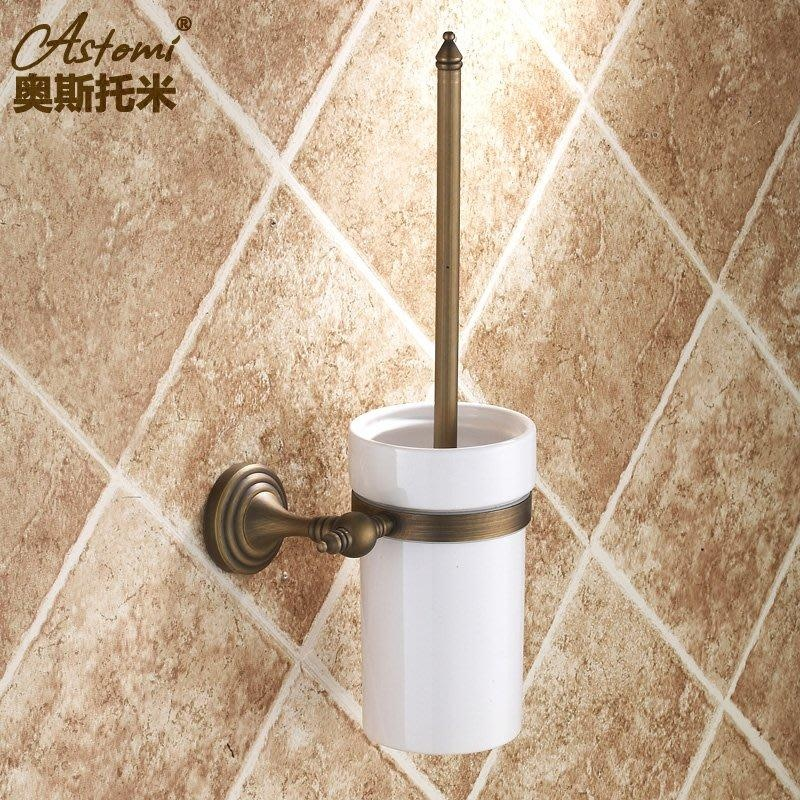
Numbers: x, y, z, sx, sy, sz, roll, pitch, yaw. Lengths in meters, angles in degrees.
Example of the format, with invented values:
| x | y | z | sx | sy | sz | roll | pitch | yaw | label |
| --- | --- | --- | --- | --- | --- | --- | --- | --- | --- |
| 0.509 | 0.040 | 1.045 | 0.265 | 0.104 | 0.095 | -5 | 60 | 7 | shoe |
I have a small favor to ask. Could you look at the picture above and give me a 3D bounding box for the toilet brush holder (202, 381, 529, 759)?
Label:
| x | y | z | sx | sy | sz | roll | pitch | yaw | label |
| --- | --- | --- | --- | --- | --- | --- | --- | --- | --- |
| -0.003 | 0.091 | 0.884 | 0.194 | 0.139 | 0.311 | 1 | 93 | 29 | toilet brush holder |
